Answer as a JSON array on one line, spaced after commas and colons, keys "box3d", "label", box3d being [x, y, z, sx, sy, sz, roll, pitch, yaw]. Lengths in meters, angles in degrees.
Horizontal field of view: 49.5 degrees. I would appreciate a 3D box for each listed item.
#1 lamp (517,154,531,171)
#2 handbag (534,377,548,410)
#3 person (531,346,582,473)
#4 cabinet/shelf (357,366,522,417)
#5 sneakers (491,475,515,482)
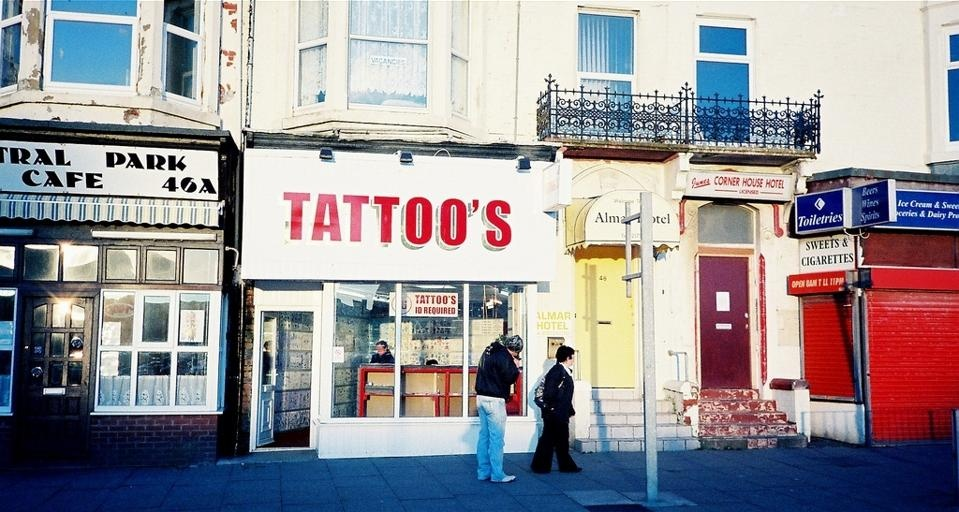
[{"box3d": [1.168, -2.496, 27.465, 0.383, 0.433, 0.347, 1, -14, -5], "label": "lamp"}, {"box3d": [1.495, 3.380, 25.563, 0.255, 0.612, 0.497, 11, 1, -7], "label": "handbag"}, {"box3d": [1.843, 3.785, 25.717, 1.161, 3.117, 0.985, -2, -7, 3], "label": "person"}, {"box3d": [-1.054, 3.570, 27.136, 4.317, 1.355, 1.011, -1, -15, 6], "label": "cabinet/shelf"}, {"box3d": [0.562, 5.370, 25.035, 0.561, 0.204, 0.192, -2, -3, -8], "label": "sneakers"}]
